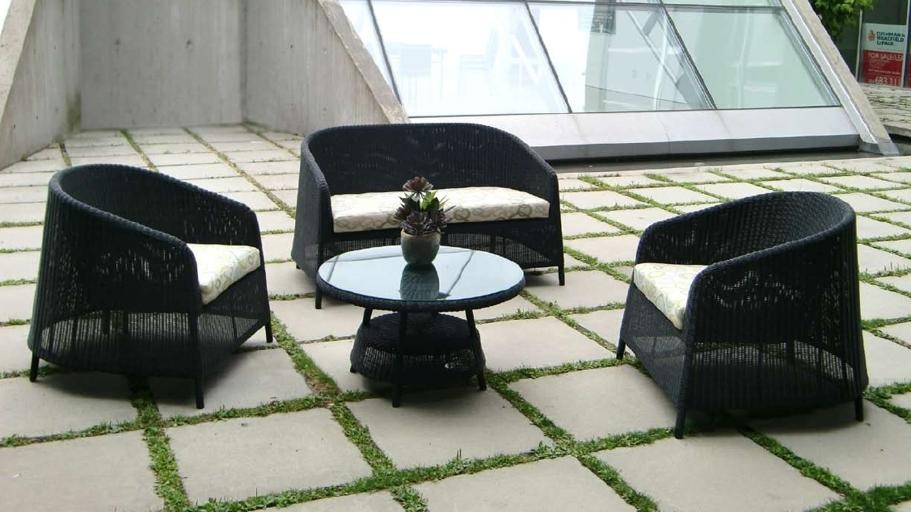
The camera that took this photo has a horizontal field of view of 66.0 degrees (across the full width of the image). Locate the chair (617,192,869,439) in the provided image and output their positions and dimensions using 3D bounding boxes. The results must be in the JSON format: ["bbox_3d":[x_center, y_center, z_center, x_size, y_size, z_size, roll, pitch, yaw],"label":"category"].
[{"bbox_3d":[1.667,0.264,4.149,1.249,1.106,1.083,-5,28,-6],"label":"chair"}]

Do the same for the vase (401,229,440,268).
[{"bbox_3d":[-0.215,-0.053,4.398,0.261,0.190,0.251,-5,14,-23],"label":"vase"}]

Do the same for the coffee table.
[{"bbox_3d":[-0.201,0.386,4.202,1.078,0.540,1.014,-5,22,-15],"label":"coffee table"}]

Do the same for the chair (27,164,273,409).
[{"bbox_3d":[-1.886,0.108,4.527,1.500,1.138,1.446,18,19,34],"label":"chair"}]

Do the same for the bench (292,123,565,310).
[{"bbox_3d":[-0.244,-0.440,5.673,2.032,1.119,1.061,-5,20,-21],"label":"bench"}]

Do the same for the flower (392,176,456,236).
[{"bbox_3d":[-0.220,-0.337,4.442,0.402,0.392,0.411,-3,12,-15],"label":"flower"}]
